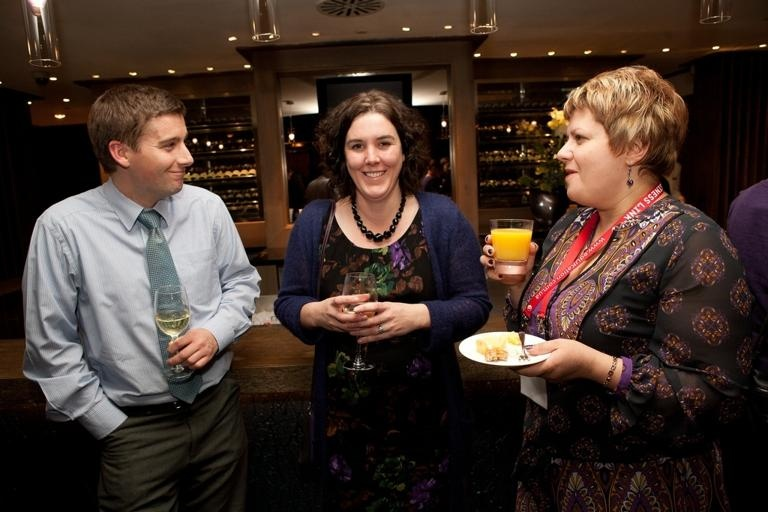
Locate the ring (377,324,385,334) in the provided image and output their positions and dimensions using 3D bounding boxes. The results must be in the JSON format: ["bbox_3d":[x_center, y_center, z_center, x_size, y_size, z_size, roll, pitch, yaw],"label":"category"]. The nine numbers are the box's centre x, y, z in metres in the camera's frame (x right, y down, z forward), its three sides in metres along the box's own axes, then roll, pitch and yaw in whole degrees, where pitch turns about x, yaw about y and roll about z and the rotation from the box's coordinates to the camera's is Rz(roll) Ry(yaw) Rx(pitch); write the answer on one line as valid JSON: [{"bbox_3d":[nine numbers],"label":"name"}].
[{"bbox_3d":[-0.015,0.301,2.324,0.027,0.038,0.007,-5,13,1],"label":"ring"}]

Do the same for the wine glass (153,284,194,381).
[{"bbox_3d":[-0.920,0.336,2.449,0.138,0.434,0.173,-11,14,-23],"label":"wine glass"}]

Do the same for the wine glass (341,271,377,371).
[{"bbox_3d":[-0.102,0.287,2.379,0.134,0.455,0.151,-14,15,-31],"label":"wine glass"}]

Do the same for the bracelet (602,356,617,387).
[{"bbox_3d":[0.844,0.427,2.059,0.057,0.099,0.028,-13,15,-28],"label":"bracelet"}]

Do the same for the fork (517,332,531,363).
[{"bbox_3d":[0.528,0.321,2.101,0.034,0.081,0.136,-3,14,12],"label":"fork"}]
